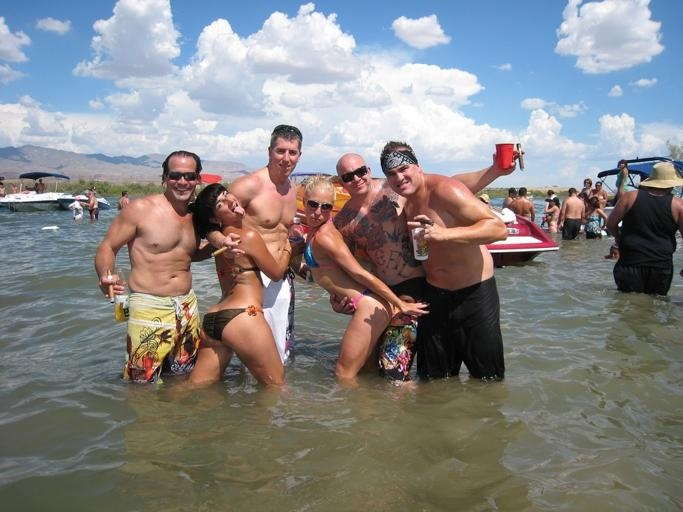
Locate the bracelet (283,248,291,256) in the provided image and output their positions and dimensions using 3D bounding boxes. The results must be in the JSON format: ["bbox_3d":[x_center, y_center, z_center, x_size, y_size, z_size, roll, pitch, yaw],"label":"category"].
[{"bbox_3d":[-0.650,-0.056,5.626,0.074,0.055,0.074,2,1,-32],"label":"bracelet"}]

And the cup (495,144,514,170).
[{"bbox_3d":[1.760,-1.053,5.077,0.203,0.258,0.123,4,15,14],"label":"cup"}]

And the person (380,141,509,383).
[{"bbox_3d":[1.126,0.178,5.007,1.317,2.646,0.869,5,15,18],"label":"person"}]

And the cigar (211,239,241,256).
[{"bbox_3d":[-1.191,-0.090,4.905,0.345,0.054,0.048,-20,38,15],"label":"cigar"}]

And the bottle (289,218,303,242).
[{"bbox_3d":[-0.608,-0.327,6.164,0.165,0.197,0.465,18,33,-19],"label":"bottle"}]
